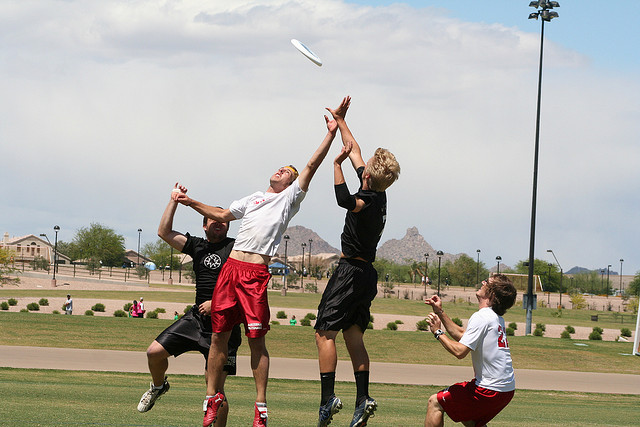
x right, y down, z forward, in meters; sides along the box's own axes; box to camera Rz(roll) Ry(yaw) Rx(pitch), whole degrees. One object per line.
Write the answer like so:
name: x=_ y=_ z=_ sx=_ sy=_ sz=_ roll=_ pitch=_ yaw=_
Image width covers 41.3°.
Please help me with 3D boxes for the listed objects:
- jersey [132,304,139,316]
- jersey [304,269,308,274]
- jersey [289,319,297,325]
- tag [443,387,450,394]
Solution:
jersey: x=-11.829 y=6.197 z=54.221 sx=0.372 sy=0.654 sz=1.126 roll=6 pitch=-6 yaw=-12
jersey: x=-3.417 y=13.309 z=193.756 sx=0.786 sy=0.997 sz=0.306 roll=6 pitch=13 yaw=43
jersey: x=-1.740 y=6.758 z=52.993 sx=0.465 sy=0.431 sz=0.248 roll=2 pitch=-22 yaw=4
tag: x=3.905 y=5.485 z=26.308 sx=0.179 sy=0.198 sz=0.228 roll=4 pitch=-6 yaw=10
